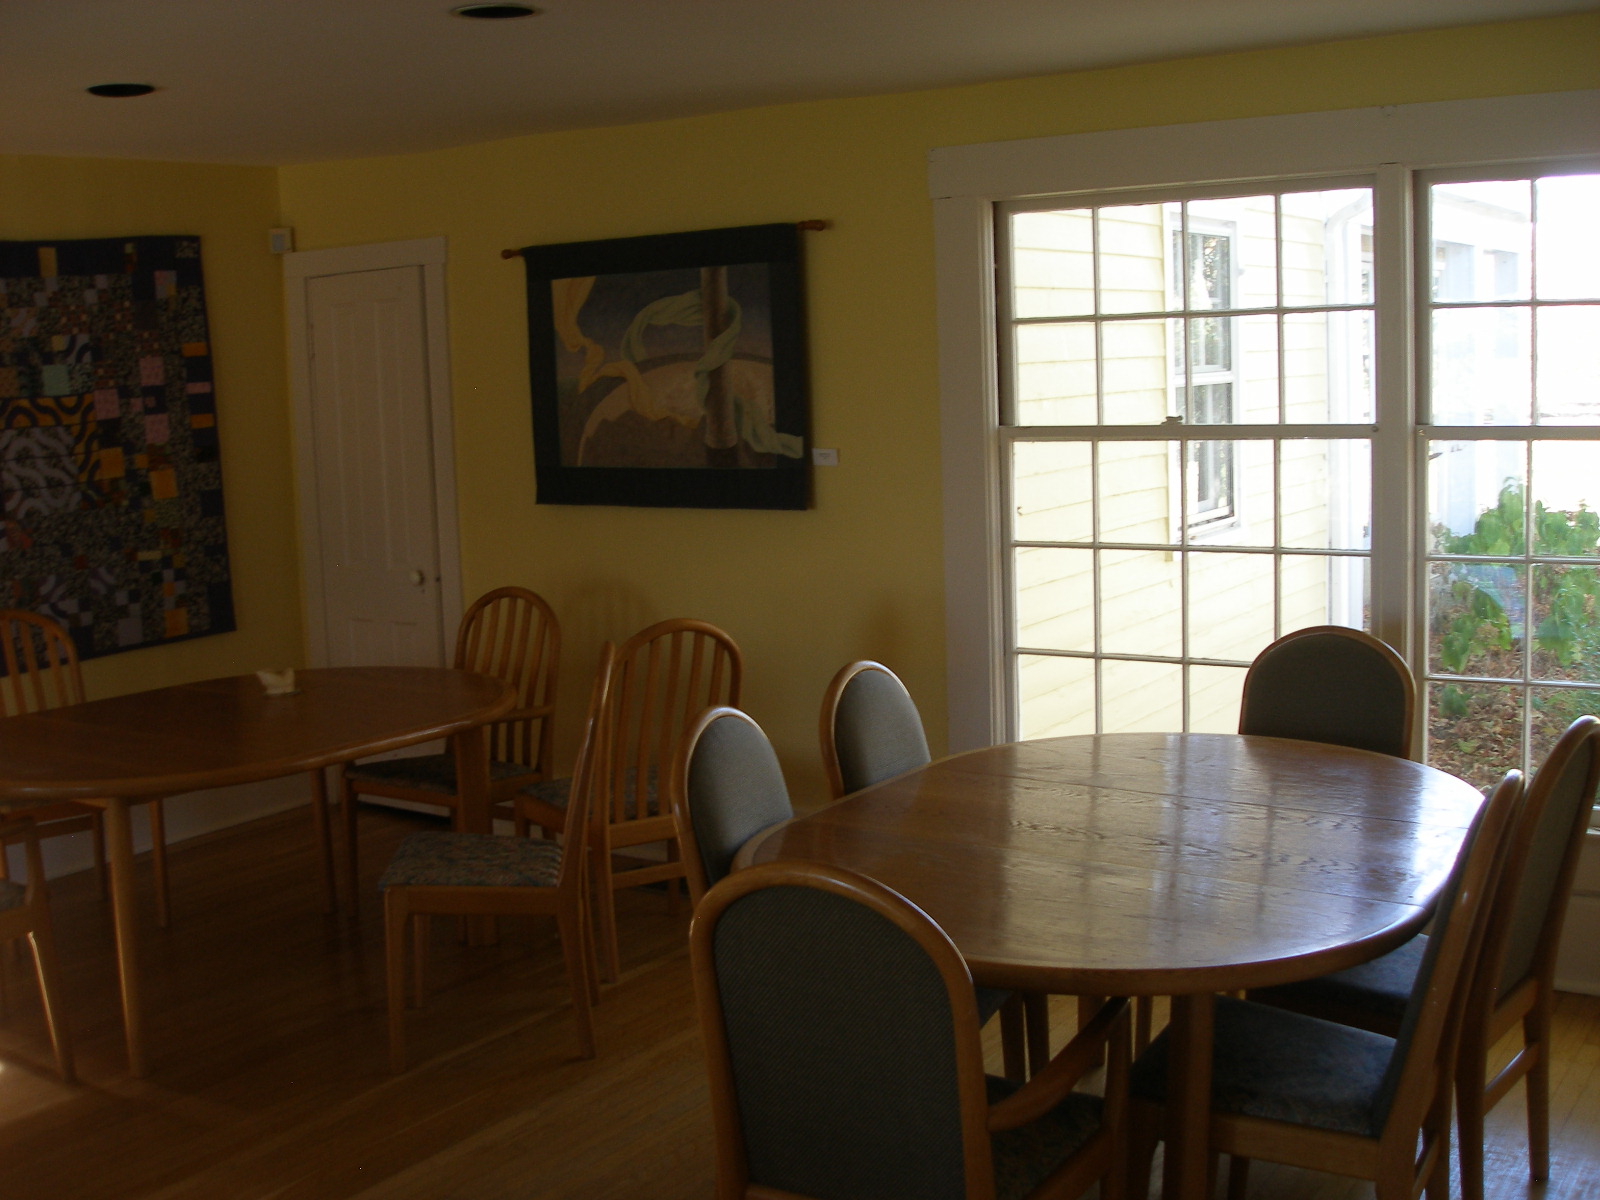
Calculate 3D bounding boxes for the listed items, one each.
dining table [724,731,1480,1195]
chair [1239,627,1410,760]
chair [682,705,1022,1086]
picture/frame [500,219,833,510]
[{"bbox_3d":[0.691,0.539,2.687,0.831,0.328,1.288,-2,8,27],"label":"dining table"},{"bbox_3d":[1.480,0.207,3.703,0.354,0.670,0.381,2,3,39],"label":"chair"},{"bbox_3d":[0.236,0.610,3.254,0.709,1.248,0.685,5,10,39],"label":"chair"},{"bbox_3d":[-0.440,-0.882,4.821,1.060,0.866,0.043,4,12,29],"label":"picture/frame"}]
